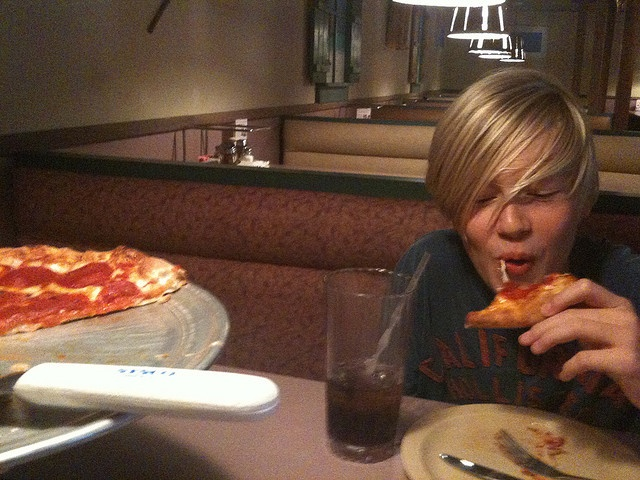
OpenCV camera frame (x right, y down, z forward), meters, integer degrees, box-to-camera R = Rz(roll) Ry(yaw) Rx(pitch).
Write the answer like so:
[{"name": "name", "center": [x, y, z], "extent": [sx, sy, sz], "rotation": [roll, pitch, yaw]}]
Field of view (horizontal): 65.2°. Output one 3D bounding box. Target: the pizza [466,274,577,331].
[{"name": "pizza", "center": [0.306, 0.108, 0.753], "extent": [0.160, 0.031, 0.098], "rotation": [-20, 14, 4]}]
